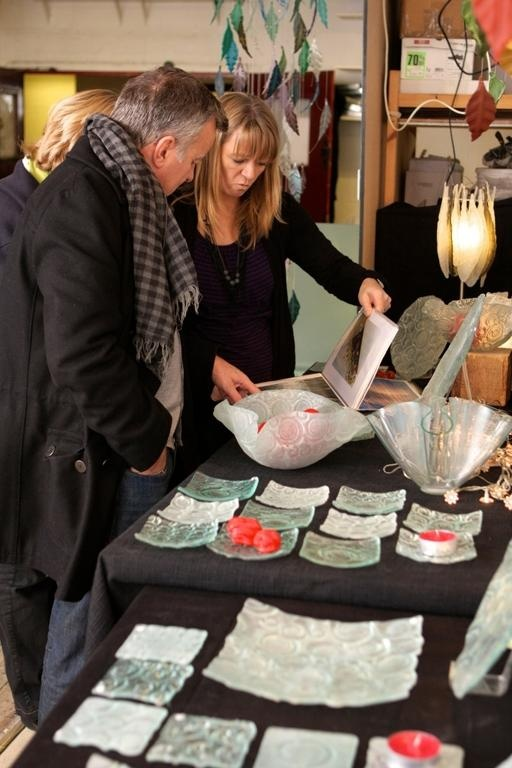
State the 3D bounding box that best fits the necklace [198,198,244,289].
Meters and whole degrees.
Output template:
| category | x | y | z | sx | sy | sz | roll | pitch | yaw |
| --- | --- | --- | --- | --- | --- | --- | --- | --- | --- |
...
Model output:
| category | x | y | z | sx | sy | sz | roll | pitch | yaw |
| --- | --- | --- | --- | --- | --- | --- | --- | --- | --- |
| necklace | -0.093 | -0.391 | 1.714 | 0.137 | 0.215 | 0.053 | 1 | -3 | -15 |
